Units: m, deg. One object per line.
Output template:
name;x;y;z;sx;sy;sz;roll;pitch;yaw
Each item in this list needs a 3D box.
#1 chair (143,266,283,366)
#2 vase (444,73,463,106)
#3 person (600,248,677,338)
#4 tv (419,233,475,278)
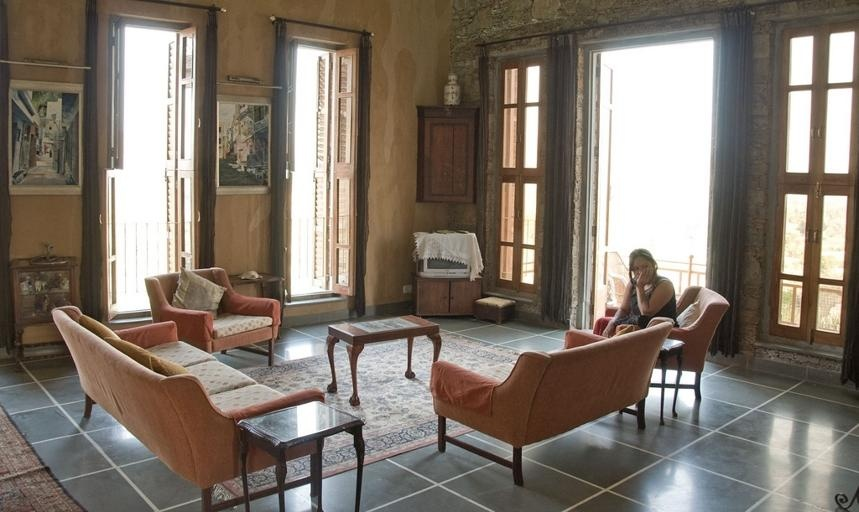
chair;-3.014;0.868;8.616;1.594;1.104;1.501;6;8;7
vase;0.404;-2.991;11.182;0.308;0.598;0.413;-1;10;1
person;2.766;0.548;8.169;0.970;1.154;0.997;1;6;31
tv;0.294;-0.113;11.008;1.022;0.613;0.802;-1;9;-19
